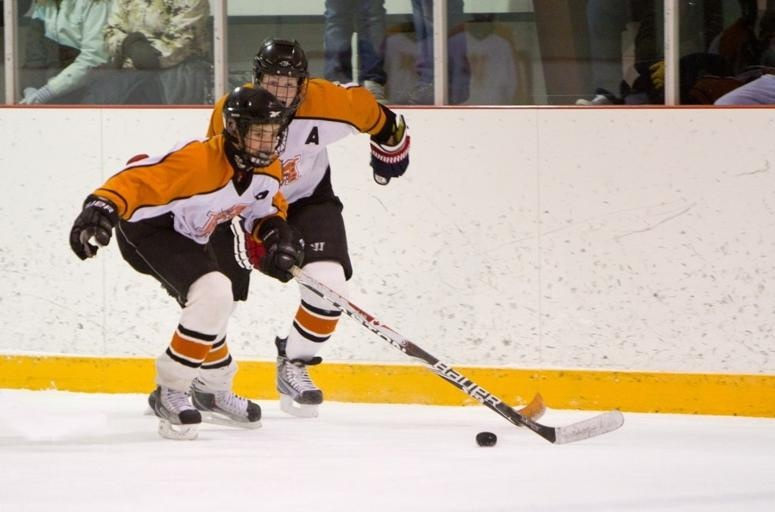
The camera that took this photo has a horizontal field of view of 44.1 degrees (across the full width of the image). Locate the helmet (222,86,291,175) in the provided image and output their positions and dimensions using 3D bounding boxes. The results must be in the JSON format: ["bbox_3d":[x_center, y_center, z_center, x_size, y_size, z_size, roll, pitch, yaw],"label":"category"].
[{"bbox_3d":[-0.619,-0.607,4.406,0.297,0.315,0.369,-3,13,-45],"label":"helmet"}]

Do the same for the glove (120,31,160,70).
[{"bbox_3d":[-1.420,-1.194,5.502,0.154,0.127,0.144,42,37,9],"label":"glove"}]

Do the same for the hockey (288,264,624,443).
[{"bbox_3d":[0.427,0.510,5.013,1.470,0.161,0.169,28,-13,17],"label":"hockey"}]

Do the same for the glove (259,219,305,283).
[{"bbox_3d":[-0.527,-0.031,4.596,0.140,0.220,0.287,-14,54,-36],"label":"glove"}]

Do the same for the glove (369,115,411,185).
[{"bbox_3d":[-0.006,-0.508,4.871,0.196,0.218,0.138,-14,29,-33],"label":"glove"}]

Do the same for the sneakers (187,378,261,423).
[{"bbox_3d":[-0.830,0.720,4.786,0.391,0.188,0.110,13,35,5],"label":"sneakers"}]

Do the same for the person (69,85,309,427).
[{"bbox_3d":[-0.920,0.034,4.457,1.035,1.641,0.506,0,8,-13],"label":"person"}]

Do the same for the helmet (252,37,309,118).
[{"bbox_3d":[-0.506,-0.888,4.572,0.258,0.304,0.329,2,31,-7],"label":"helmet"}]
